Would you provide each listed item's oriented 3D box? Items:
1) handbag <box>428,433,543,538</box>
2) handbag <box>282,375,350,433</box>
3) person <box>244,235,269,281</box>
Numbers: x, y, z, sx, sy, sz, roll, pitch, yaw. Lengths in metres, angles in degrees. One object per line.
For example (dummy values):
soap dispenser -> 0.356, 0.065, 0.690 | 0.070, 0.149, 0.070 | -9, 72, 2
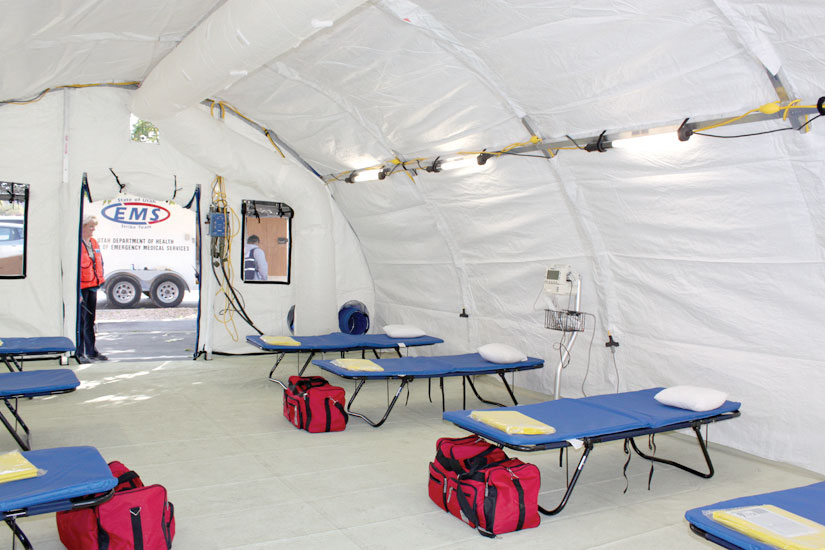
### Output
handbag -> 0.554, 1.563, 4.032 | 0.610, 0.451, 0.830 | 4, -3, -28
handbag -> -1.049, 1.392, 5.784 | 0.525, 0.590, 0.234 | -8, 1, -16
person -> -2.595, -0.294, 8.888 | 0.383, 0.768, 0.122 | -1, 8, -18
